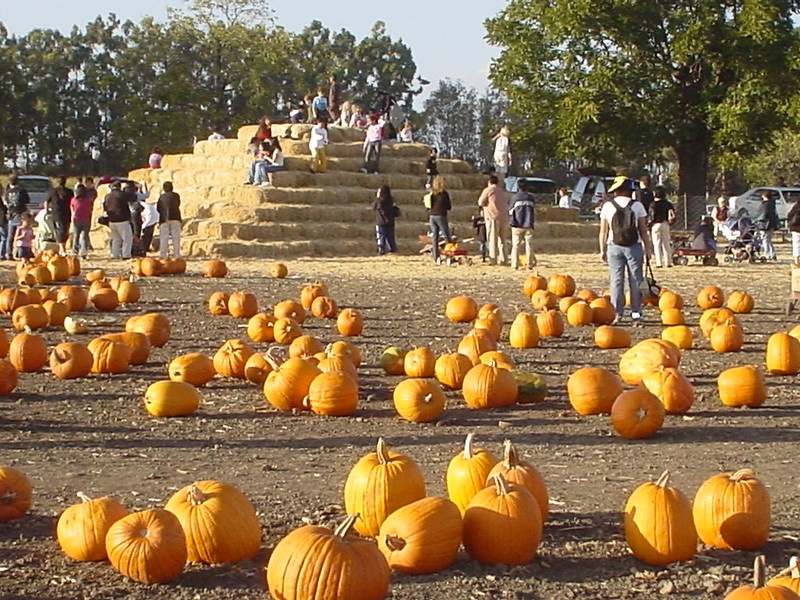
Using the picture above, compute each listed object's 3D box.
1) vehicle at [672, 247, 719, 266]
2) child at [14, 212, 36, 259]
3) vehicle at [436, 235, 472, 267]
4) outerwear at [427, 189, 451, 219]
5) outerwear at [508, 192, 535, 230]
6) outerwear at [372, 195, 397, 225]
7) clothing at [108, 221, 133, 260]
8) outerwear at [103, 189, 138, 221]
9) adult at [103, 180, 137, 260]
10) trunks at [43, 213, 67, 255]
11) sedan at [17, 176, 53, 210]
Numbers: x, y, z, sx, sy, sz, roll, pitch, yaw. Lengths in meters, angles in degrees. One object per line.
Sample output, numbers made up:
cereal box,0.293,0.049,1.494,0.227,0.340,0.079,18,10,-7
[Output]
vehicle,6.825,-1.038,29.240,0.860,0.369,0.624,1,1,-5
child,-7.829,-1.158,26.605,0.417,1.249,0.405,1,-16,-15
vehicle,1.231,-1.101,28.880,0.405,0.533,1.318,0,6,-12
outerwear,0.886,-2.129,28.066,0.446,0.419,0.595,-1,1,-1
outerwear,2.605,-1.903,26.979,0.489,0.560,0.580,-1,1,1
outerwear,-0.363,-2.106,30.002,0.715,0.783,0.554,-2,20,-10
clothing,-6.115,-1.316,27.816,0.493,0.927,0.339,22,38,16
outerwear,-6.023,-2.045,27.102,0.944,0.819,0.560,-2,16,-10
adult,-6.069,-1.717,27.441,0.664,1.697,0.548,0,4,13
trunks,-7.582,-1.473,27.768,0.290,0.791,0.573,-11,0,-26
sedan,-9.824,-2.862,34.110,1.154,0.850,2.490,0,16,-14
